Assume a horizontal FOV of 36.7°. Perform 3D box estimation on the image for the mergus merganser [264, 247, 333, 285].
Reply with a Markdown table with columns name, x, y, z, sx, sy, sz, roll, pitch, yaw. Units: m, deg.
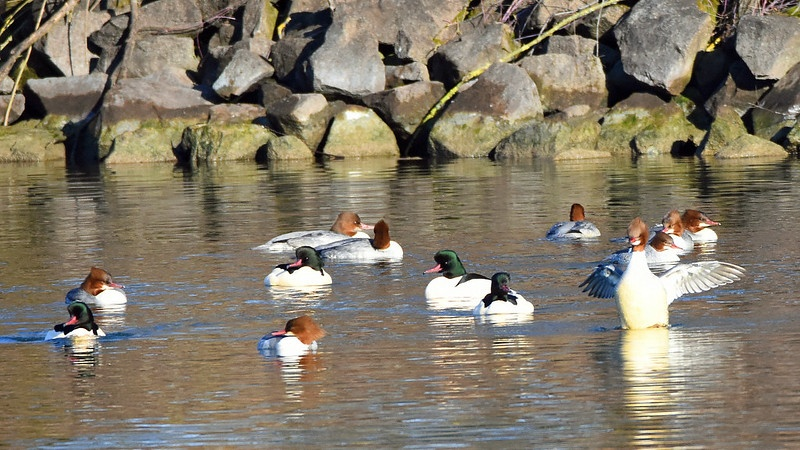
| name | x | y | z | sx | sy | sz | roll | pitch | yaw |
| --- | --- | --- | --- | --- | --- | --- | --- | --- | --- |
| mergus merganser | -2.284 | 0.957 | 27.006 | 1.441 | 0.899 | 0.502 | -2 | 2 | -6 |

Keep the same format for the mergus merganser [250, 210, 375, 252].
| name | x | y | z | sx | sy | sz | roll | pitch | yaw |
| --- | --- | --- | --- | --- | --- | --- | --- | --- | --- |
| mergus merganser | -2.207 | 0.300 | 30.188 | 3.142 | 1.134 | 0.778 | 0 | 9 | -4 |

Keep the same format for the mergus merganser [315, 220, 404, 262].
| name | x | y | z | sx | sy | sz | roll | pitch | yaw |
| --- | --- | --- | --- | --- | --- | --- | --- | --- | --- |
| mergus merganser | -0.849 | 0.438 | 29.539 | 2.567 | 1.099 | 0.846 | -1 | 6 | 9 |

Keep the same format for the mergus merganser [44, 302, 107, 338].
| name | x | y | z | sx | sy | sz | roll | pitch | yaw |
| --- | --- | --- | --- | --- | --- | --- | --- | --- | --- |
| mergus merganser | -6.481 | 1.935 | 24.058 | 1.101 | 0.778 | 0.490 | -2 | 2 | -10 |

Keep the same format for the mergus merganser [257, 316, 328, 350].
| name | x | y | z | sx | sy | sz | roll | pitch | yaw |
| --- | --- | --- | --- | --- | --- | --- | --- | --- | --- |
| mergus merganser | -2.130 | 2.148 | 23.475 | 1.256 | 0.670 | 0.436 | -2 | 2 | -7 |
